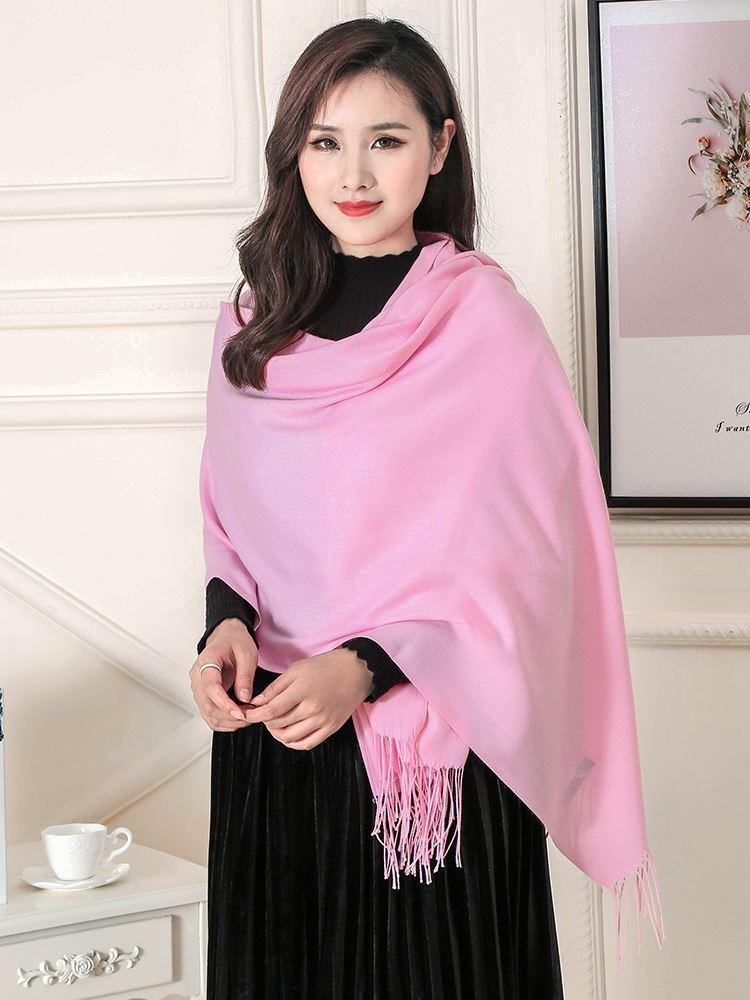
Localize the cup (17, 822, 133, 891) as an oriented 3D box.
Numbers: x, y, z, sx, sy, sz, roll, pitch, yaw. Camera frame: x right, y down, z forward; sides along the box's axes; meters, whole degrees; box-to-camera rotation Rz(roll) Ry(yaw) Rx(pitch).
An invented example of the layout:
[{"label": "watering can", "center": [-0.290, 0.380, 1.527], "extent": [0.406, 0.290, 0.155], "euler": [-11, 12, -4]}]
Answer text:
[{"label": "cup", "center": [-0.381, 0.467, 1.379], "extent": [0.101, 0.043, 0.100], "euler": [-1, -10, 0]}]
